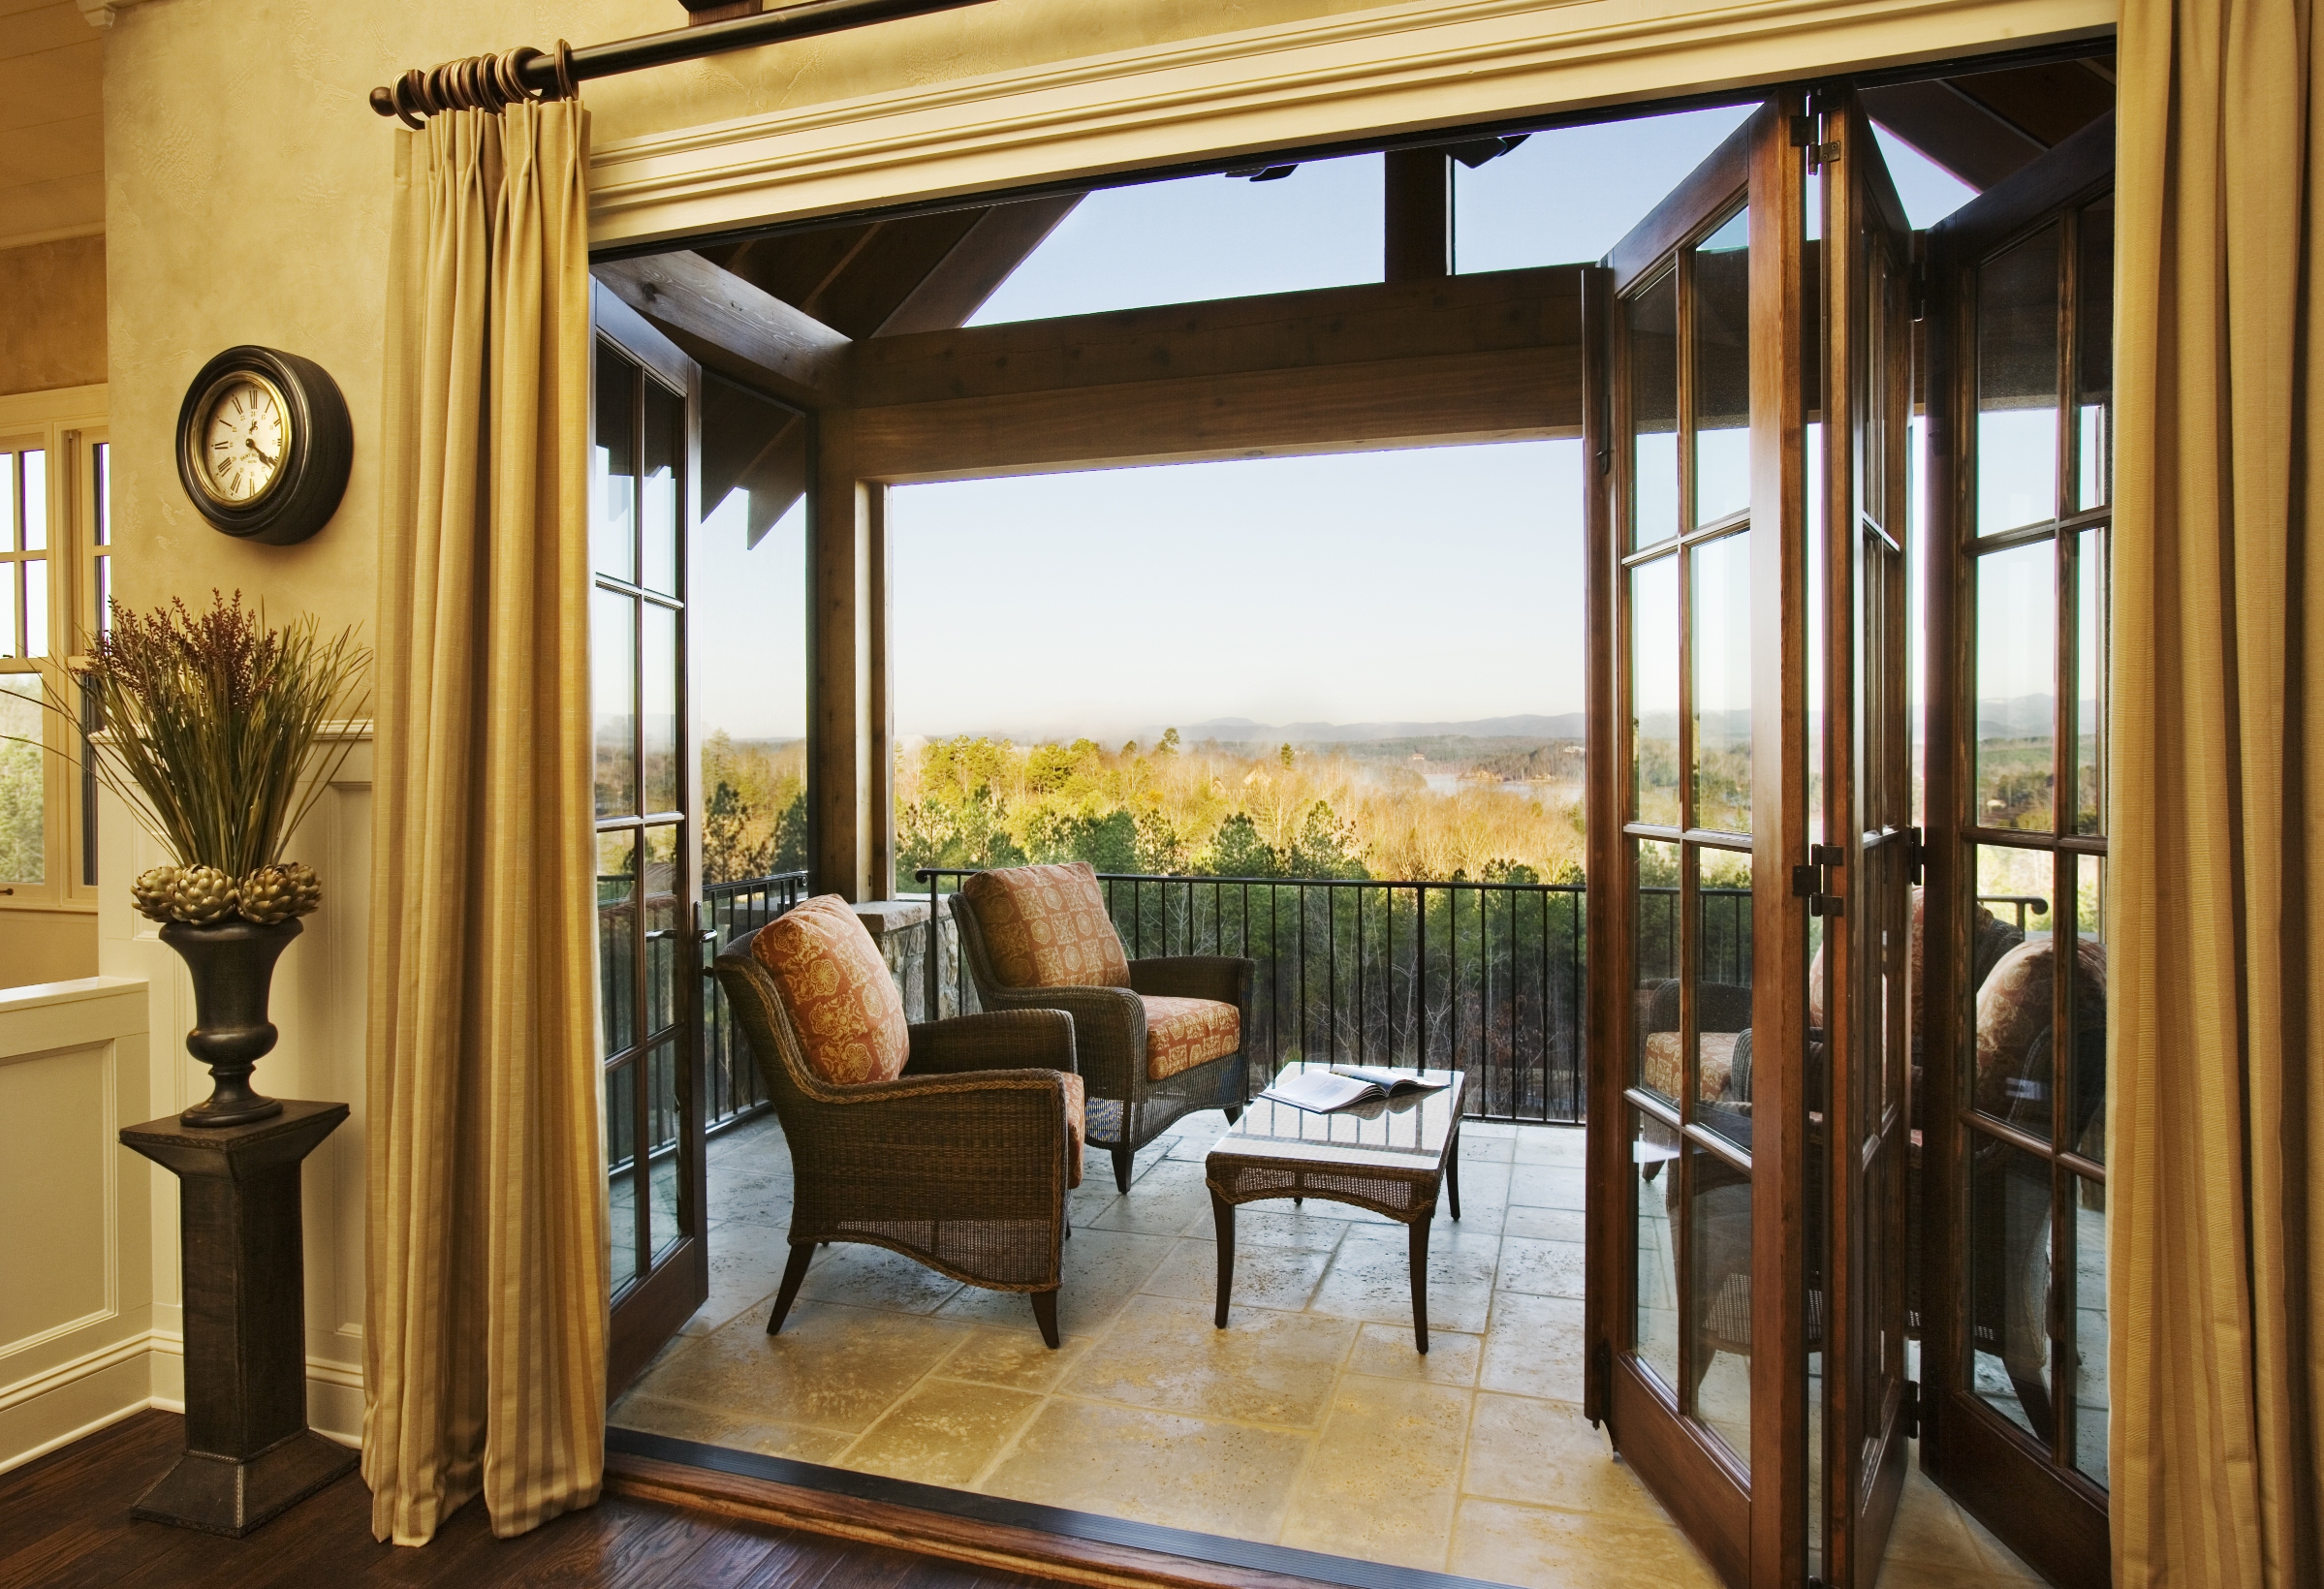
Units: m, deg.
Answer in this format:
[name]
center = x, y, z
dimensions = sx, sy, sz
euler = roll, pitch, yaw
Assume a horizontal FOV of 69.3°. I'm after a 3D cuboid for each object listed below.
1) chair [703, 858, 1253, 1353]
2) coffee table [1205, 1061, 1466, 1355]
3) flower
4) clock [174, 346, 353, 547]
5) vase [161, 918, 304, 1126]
[chair]
center = -0.529, 0.880, 4.854
dimensions = 1.119, 1.304, 0.939
euler = -1, 0, 8
[coffee table]
center = 0.474, 1.026, 4.654
dimensions = 0.527, 0.453, 0.972
euler = 0, 2, 11
[flower]
center = -2.207, -0.104, 4.163
dimensions = 0.750, 0.945, 0.778
euler = 1, 0, 33
[clock]
center = -2.110, -0.830, 3.974
dimensions = 0.433, 0.494, 0.153
euler = 1, -1, 13
[vase]
center = -2.148, 0.524, 3.862
dimensions = 0.334, 0.453, 0.346
euler = -6, -3, 17
